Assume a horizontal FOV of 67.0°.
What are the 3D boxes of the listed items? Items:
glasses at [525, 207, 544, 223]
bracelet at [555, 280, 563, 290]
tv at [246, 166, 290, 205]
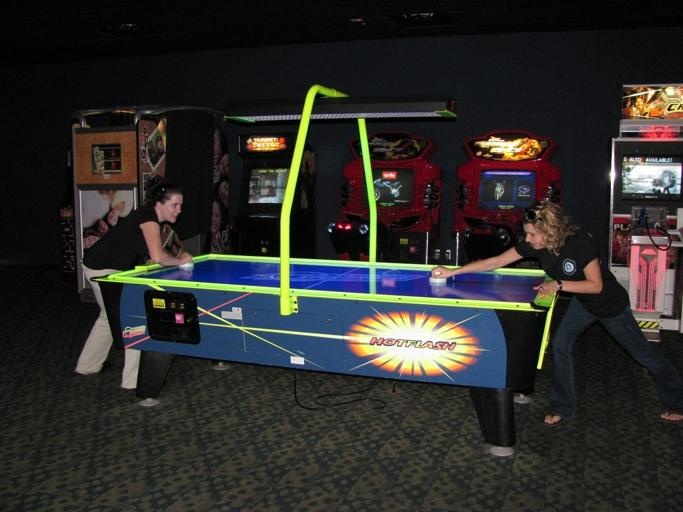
[{"bbox_3d":[1.193,-0.247,3.225,0.059,0.094,0.112,17,-9,-32],"label":"glasses"},{"bbox_3d":[1.317,0.179,3.129,0.047,0.059,0.060,-2,-5,9],"label":"bracelet"},{"bbox_3d":[-1.004,-0.955,7.005,0.712,0.454,0.004,7,5,39],"label":"tv"}]
